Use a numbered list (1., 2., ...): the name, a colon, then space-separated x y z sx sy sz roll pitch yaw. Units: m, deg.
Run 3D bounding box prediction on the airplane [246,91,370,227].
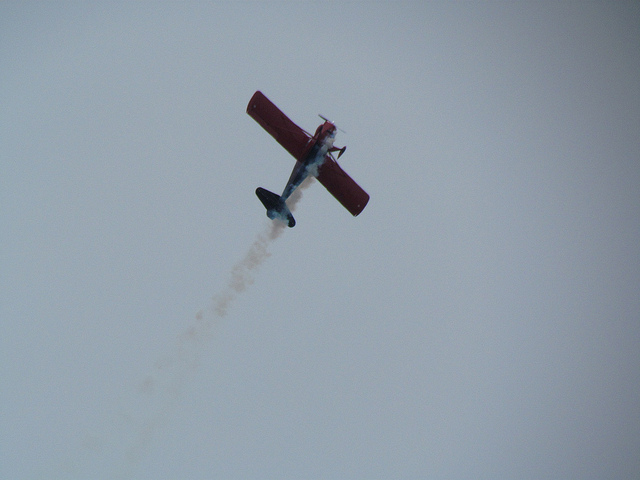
1. airplane: -0.698 -2.654 44.129 1.475 5.371 4.440 38 -86 9
